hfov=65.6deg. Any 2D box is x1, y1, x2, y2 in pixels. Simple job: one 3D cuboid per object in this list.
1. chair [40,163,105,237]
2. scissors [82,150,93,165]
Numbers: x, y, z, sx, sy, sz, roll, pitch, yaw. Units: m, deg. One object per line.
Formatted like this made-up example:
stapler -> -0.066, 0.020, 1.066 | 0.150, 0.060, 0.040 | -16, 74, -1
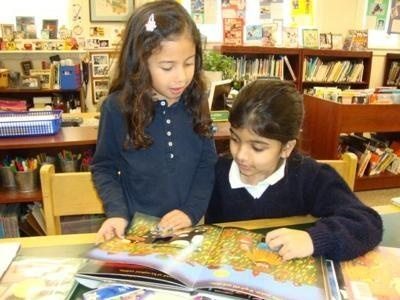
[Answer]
chair -> -0.513, 0.241, 1.353 | 0.258, 0.352, 0.201 | -1, 14, -6
scissors -> -0.743, 0.054, 2.045 | 0.085, 0.082, 0.019 | -5, -20, 8
